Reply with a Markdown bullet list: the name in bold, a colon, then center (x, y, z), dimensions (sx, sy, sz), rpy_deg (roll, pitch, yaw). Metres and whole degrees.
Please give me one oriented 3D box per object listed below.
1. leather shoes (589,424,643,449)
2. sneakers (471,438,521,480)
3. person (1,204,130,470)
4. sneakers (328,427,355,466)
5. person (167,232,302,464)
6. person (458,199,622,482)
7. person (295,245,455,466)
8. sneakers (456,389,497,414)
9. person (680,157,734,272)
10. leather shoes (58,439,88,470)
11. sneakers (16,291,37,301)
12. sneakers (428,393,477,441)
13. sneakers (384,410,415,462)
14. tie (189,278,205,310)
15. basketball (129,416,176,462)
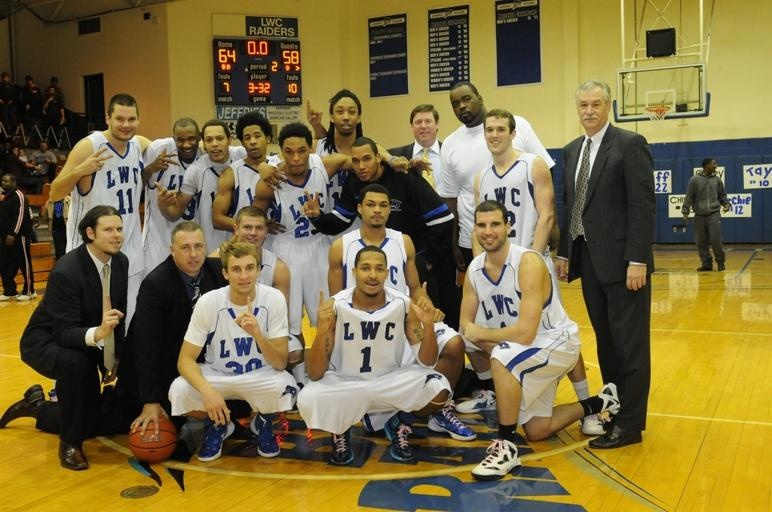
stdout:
- **leather shoes**: center (1.959, 1.557, 5.327), dimensions (0.468, 0.190, 0.174), rpy_deg (-1, -5, -15)
- **sneakers**: center (0.876, 1.608, 4.910), dimensions (0.566, 0.260, 0.184), rpy_deg (-1, 1, -42)
- **person**: center (-2.730, 0.650, 5.404), dimensions (0.914, 2.133, 1.047), rpy_deg (-6, 10, -25)
- **sneakers**: center (-0.387, 1.585, 5.236), dimensions (0.207, 0.265, 0.304), rpy_deg (-2, 9, -5)
- **person**: center (-1.281, 0.807, 5.276), dimensions (1.077, 1.713, 0.944), rpy_deg (-2, 8, 0)
- **person**: center (1.188, 0.624, 5.075), dimensions (1.141, 2.120, 1.004), rpy_deg (0, 9, 6)
- **person**: center (-0.113, 0.831, 5.358), dimensions (1.304, 1.713, 0.891), rpy_deg (-3, 7, -6)
- **sneakers**: center (0.902, 1.439, 6.084), dimensions (0.417, 0.183, 0.173), rpy_deg (1, 2, -8)
- **person**: center (6.779, -0.884, 13.162), dimensions (0.895, 2.357, 1.156), rpy_deg (3, 10, 27)
- **leather shoes**: center (-2.617, 1.658, 5.154), dimensions (0.231, 0.215, 0.231), rpy_deg (-5, 10, -21)
- **sneakers**: center (-7.064, 0.812, 12.126), dimensions (0.166, 0.152, 0.363), rpy_deg (-1, -13, 2)
- **sneakers**: center (0.595, 1.502, 5.609), dimensions (0.501, 0.274, 0.173), rpy_deg (5, 6, 44)
- **sneakers**: center (0.103, 1.523, 5.238), dimensions (0.161, 0.268, 0.454), rpy_deg (0, 22, -18)
- **tie**: center (-1.684, 0.327, 5.464), dimensions (0.197, 0.061, 0.198), rpy_deg (-32, 34, 18)
- **basketball**: center (-1.995, 1.585, 5.280), dimensions (0.407, 0.395, 0.381), rpy_deg (5, -2, -38)
